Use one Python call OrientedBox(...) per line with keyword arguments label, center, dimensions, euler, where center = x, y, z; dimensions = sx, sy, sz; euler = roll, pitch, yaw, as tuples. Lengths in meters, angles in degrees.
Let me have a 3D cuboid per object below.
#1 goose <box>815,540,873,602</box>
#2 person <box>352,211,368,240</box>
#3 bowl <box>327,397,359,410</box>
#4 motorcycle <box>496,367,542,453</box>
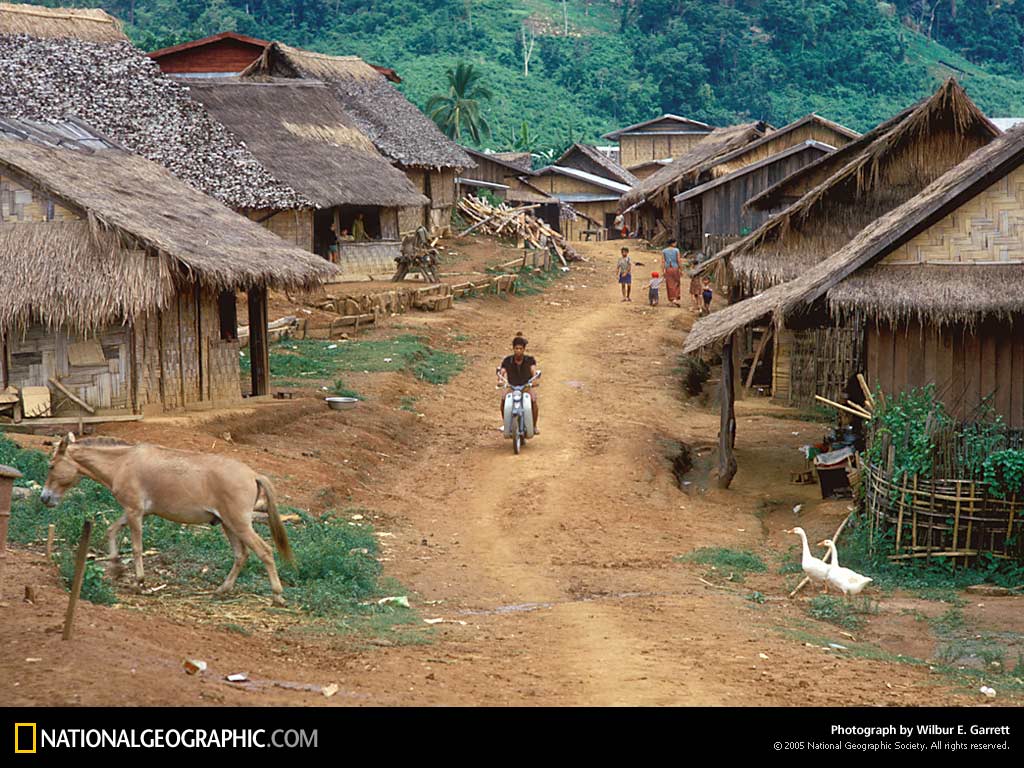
OrientedBox(label="goose", center=(4.563, 2.589, 19.028), dimensions=(0.802, 0.733, 0.323), euler=(17, 24, 36))
OrientedBox(label="person", center=(-4.758, -4.953, 43.455), dimensions=(0.480, 0.744, 1.820), euler=(1, 8, -7))
OrientedBox(label="bowl", center=(-3.189, 0.359, 25.964), dimensions=(0.667, 0.191, 0.381), euler=(-5, 10, -41))
OrientedBox(label="motorcycle", center=(0.119, 0.485, 25.472), dimensions=(0.734, 1.508, 0.875), euler=(2, 9, 1))
